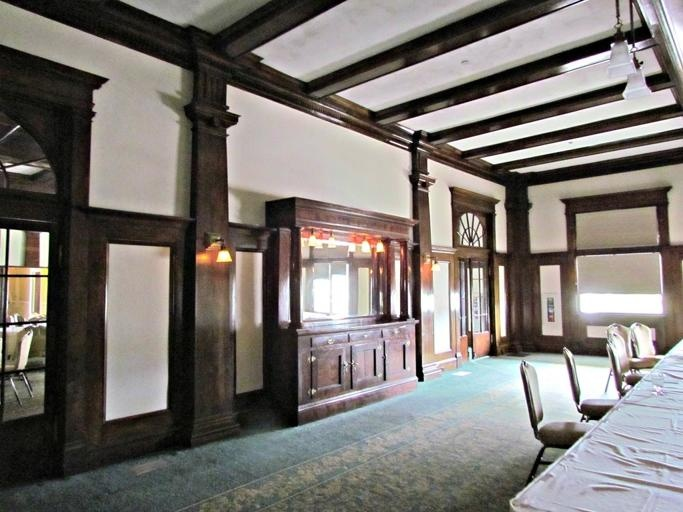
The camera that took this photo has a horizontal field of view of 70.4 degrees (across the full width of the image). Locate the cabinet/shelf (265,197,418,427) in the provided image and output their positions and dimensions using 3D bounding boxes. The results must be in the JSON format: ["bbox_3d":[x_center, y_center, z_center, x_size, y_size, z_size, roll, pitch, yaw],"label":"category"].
[{"bbox_3d":[-0.066,0.820,6.526,0.934,3.021,2.871,-7,-6,41],"label":"cabinet/shelf"}]

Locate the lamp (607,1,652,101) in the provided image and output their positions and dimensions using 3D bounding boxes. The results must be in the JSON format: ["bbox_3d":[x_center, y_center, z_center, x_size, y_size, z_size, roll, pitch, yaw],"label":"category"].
[{"bbox_3d":[3.092,-2.182,5.193,0.345,1.058,1.733,0,1,32],"label":"lamp"}]
